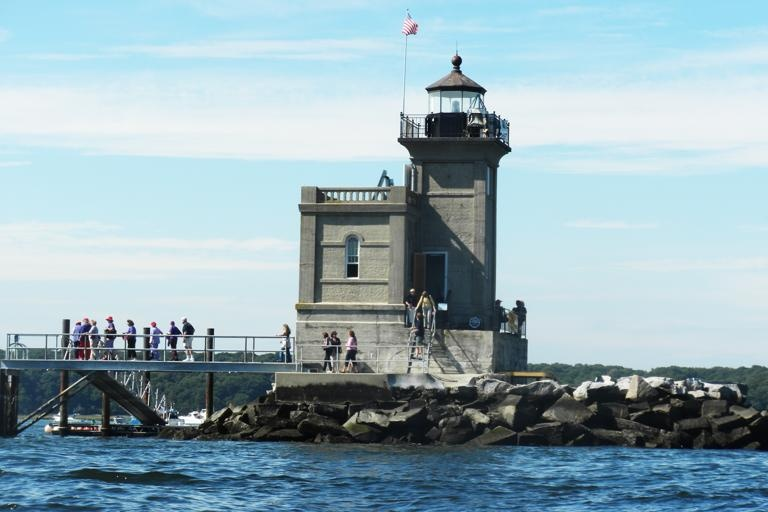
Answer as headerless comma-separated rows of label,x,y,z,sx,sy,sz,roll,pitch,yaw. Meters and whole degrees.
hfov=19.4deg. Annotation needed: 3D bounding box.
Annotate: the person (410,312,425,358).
person,2.017,3.827,113.332,0.705,2.283,0.510,0,-8,-1
